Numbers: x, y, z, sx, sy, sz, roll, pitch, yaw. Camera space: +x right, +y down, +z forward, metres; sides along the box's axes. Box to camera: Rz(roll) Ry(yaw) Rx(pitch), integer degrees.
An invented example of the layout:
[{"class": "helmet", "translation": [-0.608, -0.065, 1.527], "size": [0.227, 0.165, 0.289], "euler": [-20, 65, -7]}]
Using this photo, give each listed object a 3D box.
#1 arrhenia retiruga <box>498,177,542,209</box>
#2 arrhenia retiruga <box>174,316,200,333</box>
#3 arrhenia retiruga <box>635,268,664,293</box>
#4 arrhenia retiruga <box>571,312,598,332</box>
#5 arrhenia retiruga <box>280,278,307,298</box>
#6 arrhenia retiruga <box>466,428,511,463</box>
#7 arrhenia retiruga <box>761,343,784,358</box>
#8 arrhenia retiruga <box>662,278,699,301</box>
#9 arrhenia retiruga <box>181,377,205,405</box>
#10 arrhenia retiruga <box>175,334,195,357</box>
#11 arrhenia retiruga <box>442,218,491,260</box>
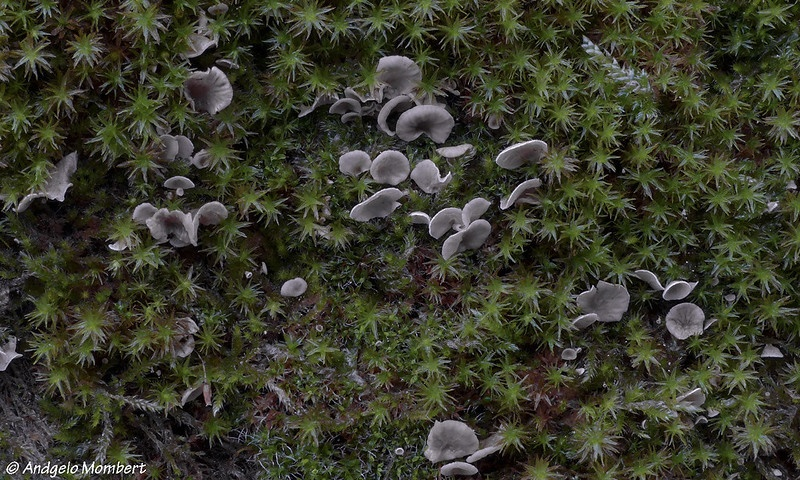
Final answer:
[{"class": "arrhenia retiruga", "translation": [1.060, -0.426, 6.284], "size": [0.302, 0.278, 0.099], "euler": [-30, 78, -20]}, {"class": "arrhenia retiruga", "translation": [-1.859, 0.750, 6.326], "size": [0.137, 0.042, 0.180], "euler": [-33, 79, -22]}, {"class": "arrhenia retiruga", "translation": [2.185, 0.340, 6.316], "size": [0.205, 0.208, 0.069], "euler": [17, 63, 49]}, {"class": "arrhenia retiruga", "translation": [1.638, 0.708, 6.324], "size": [0.257, 0.191, 0.112], "euler": [-17, 73, -18]}, {"class": "arrhenia retiruga", "translation": [-0.945, 0.428, 6.530], "size": [0.236, 0.126, 0.136], "euler": [-6, 70, -14]}, {"class": "arrhenia retiruga", "translation": [0.782, 1.792, 6.236], "size": [0.108, 0.347, 0.252], "euler": [43, 44, 0]}, {"class": "arrhenia retiruga", "translation": [3.309, 0.988, 6.412], "size": [0.191, 0.058, 0.109], "euler": [3, 68, -11]}, {"class": "arrhenia retiruga", "translation": [2.449, 0.441, 6.309], "size": [0.227, 0.189, 0.090], "euler": [-6, 41, 0]}, {"class": "arrhenia retiruga", "translation": [-1.802, 1.334, 6.307], "size": [0.317, 0.107, 0.045], "euler": [-47, 34, -3]}, {"class": "arrhenia retiruga", "translation": [-1.879, 0.928, 6.320], "size": [0.168, 0.093, 0.168], "euler": [-2, 69, -13]}, {"class": "arrhenia retiruga", "translation": [0.595, -0.021, 6.339], "size": [0.378, 0.368, 0.113], "euler": [-38, 60, 12]}]
